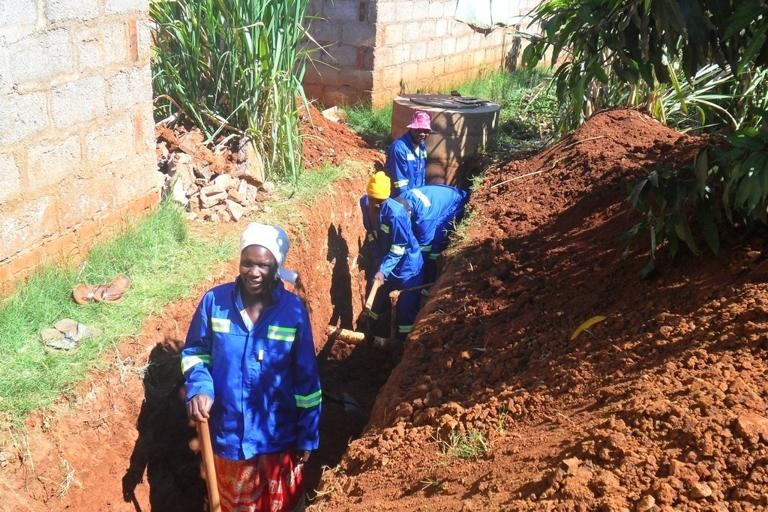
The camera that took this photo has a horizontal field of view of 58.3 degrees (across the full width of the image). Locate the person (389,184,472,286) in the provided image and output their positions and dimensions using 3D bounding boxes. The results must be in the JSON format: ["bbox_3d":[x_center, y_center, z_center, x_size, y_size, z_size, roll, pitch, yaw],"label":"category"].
[{"bbox_3d":[0.547,-0.337,7.896,0.402,0.895,1.493,21,27,35],"label":"person"}]

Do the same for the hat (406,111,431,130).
[{"bbox_3d":[0.442,-1.578,8.260,0.241,0.144,0.260,8,4,14],"label":"hat"}]

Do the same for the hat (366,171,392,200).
[{"bbox_3d":[-0.051,-0.778,7.432,0.293,0.294,0.233,27,24,38],"label":"hat"}]
